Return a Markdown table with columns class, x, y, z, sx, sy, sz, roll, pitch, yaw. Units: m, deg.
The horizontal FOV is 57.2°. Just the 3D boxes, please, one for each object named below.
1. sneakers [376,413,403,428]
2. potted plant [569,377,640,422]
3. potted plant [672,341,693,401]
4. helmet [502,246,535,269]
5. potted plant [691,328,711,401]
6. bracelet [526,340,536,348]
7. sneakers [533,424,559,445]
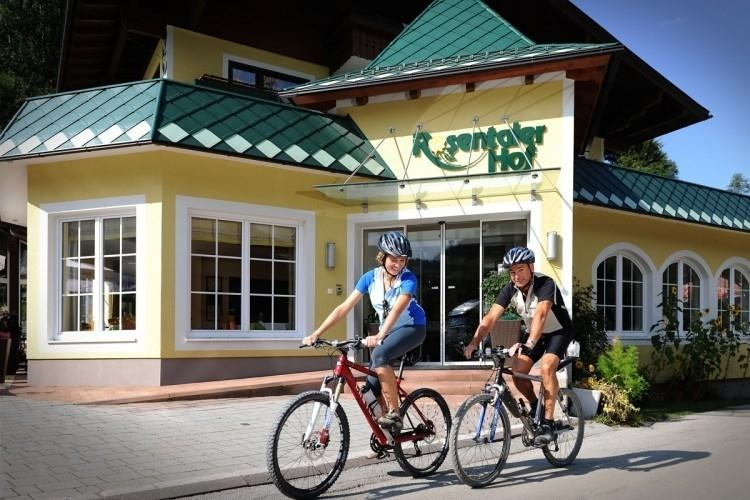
| class | x | y | z | sx | sy | sz | roll | pitch | yaw |
| --- | --- | --- | --- | --- | --- | --- | --- | --- | --- |
| sneakers | 0.238 | 2.546 | 10.229 | 0.336 | 0.227 | 0.181 | 6 | -15 | -2 |
| potted plant | 4.993 | 3.279 | 14.862 | 0.953 | 0.517 | 0.940 | 5 | 4 | -41 |
| potted plant | 8.823 | 3.470 | 19.592 | 0.484 | 1.503 | 1.404 | -2 | -6 | 25 |
| helmet | 2.308 | 0.124 | 11.052 | 0.457 | 0.344 | 0.285 | 0 | -6 | 2 |
| potted plant | 9.266 | 3.241 | 19.491 | 0.547 | 2.008 | 1.411 | -2 | -6 | 26 |
| bracelet | 2.418 | 1.474 | 10.680 | 0.110 | 0.128 | 0.148 | 2 | -17 | 24 |
| sneakers | 2.680 | 2.915 | 10.824 | 0.347 | 0.263 | 0.125 | -18 | 3 | -34 |
